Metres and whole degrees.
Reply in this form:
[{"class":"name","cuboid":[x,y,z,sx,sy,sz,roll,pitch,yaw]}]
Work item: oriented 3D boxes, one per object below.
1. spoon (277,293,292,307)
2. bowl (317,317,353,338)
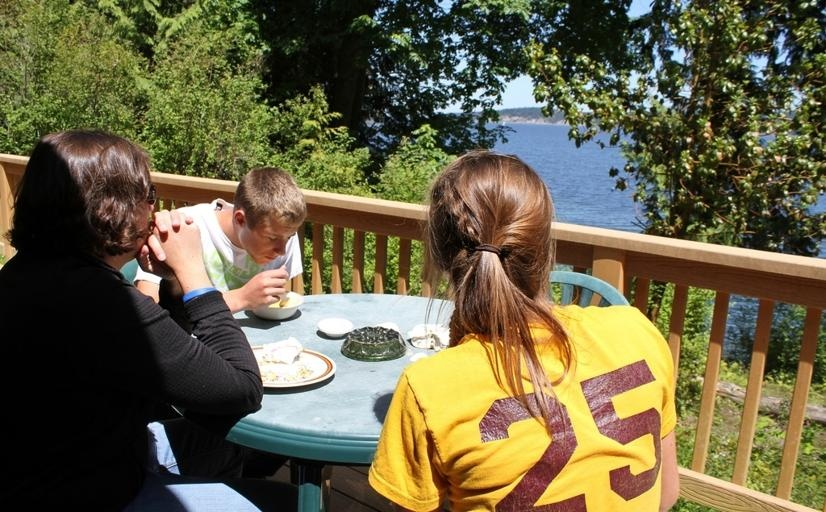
[{"class":"spoon","cuboid":[-0.584,0.200,2.753,0.048,0.039,0.051,2,-6,-24]},{"class":"bowl","cuboid":[-0.333,0.309,2.580,0.102,0.026,0.097,2,27,-1]}]
